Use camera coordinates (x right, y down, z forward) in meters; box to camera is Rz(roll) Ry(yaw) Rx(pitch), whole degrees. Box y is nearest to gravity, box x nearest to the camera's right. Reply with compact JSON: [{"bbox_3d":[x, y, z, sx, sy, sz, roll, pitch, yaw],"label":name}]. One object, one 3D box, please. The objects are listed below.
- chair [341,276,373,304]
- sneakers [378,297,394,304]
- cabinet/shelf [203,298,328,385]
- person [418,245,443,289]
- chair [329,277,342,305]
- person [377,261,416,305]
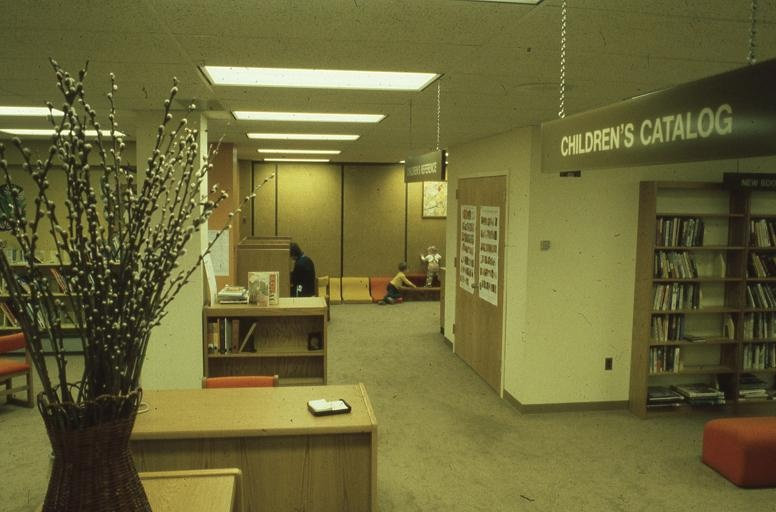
[{"bbox_3d":[-0.679,0.707,14.550,0.630,0.402,0.651,-1,13,-4],"label":"chair"},{"bbox_3d":[-0.035,0.907,14.183,0.386,0.156,0.120,-3,8,-7],"label":"sneakers"},{"bbox_3d":[-1.348,0.920,7.320,0.990,0.796,0.344,0,2,-5],"label":"cabinet/shelf"},{"bbox_3d":[0.926,0.174,14.753,0.430,0.867,0.667,0,14,3],"label":"person"},{"bbox_3d":[-1.094,0.712,14.431,0.259,0.400,0.641,-1,13,-4],"label":"chair"},{"bbox_3d":[0.260,0.553,14.407,0.483,0.725,1.018,7,15,29],"label":"person"}]
